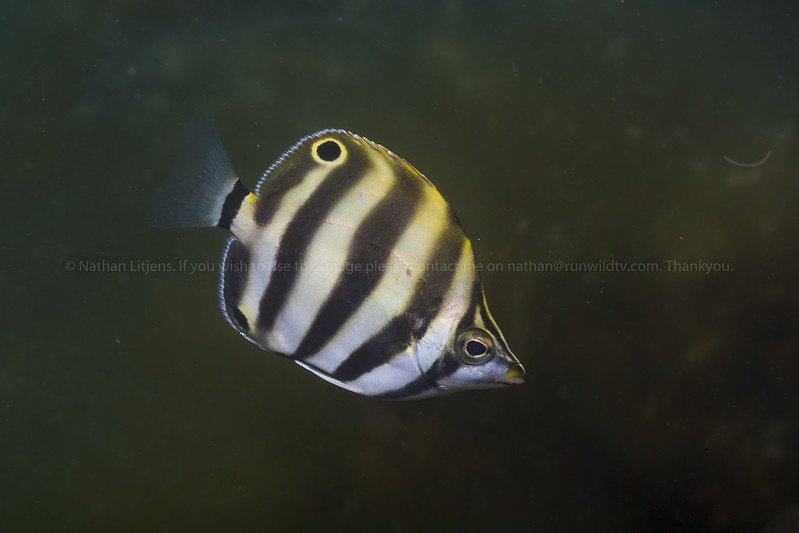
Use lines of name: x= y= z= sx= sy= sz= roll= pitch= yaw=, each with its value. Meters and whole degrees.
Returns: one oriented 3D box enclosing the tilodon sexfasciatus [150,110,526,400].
tilodon sexfasciatus: x=-0.182 y=-0.024 z=3.104 sx=1.372 sy=0.264 sz=0.752 roll=28 pitch=83 yaw=1
